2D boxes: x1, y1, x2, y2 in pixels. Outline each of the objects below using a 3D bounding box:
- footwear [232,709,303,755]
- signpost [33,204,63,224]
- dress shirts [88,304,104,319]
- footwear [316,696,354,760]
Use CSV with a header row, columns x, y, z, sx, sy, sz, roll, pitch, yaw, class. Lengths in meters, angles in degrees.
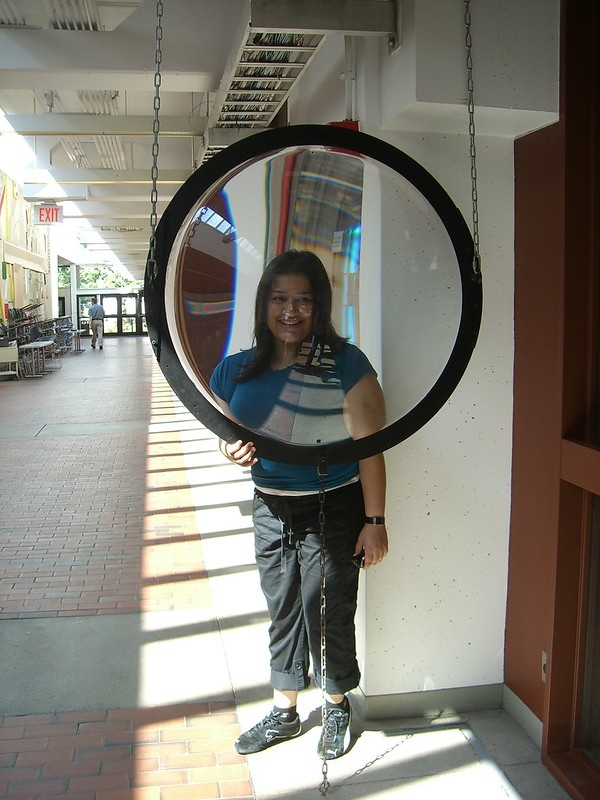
x,y,z,sx,sy,sz,roll,pitch,yaw,class
-0.102,1.073,1.854,0.179,0.080,0.061,-21,20,-8,footwear
-5.284,-3.858,12.121,0.527,0.399,0.078,-1,2,6,signpost
-8.714,-3.690,24.681,0.485,0.689,0.806,-2,3,-27,dress shirts
0.108,0.972,1.809,0.078,0.240,0.106,-5,-23,29,footwear
